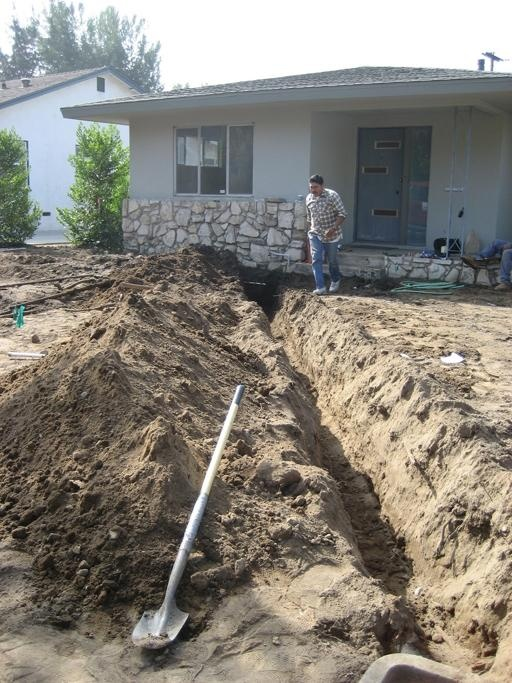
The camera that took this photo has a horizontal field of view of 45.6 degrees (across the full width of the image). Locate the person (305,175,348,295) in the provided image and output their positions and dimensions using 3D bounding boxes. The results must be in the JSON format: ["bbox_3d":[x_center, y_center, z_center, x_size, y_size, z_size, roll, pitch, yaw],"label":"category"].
[{"bbox_3d":[1.097,-1.683,9.916,0.609,1.863,1.054,3,7,5],"label":"person"}]

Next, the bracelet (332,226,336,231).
[{"bbox_3d":[1.235,-1.783,9.650,0.061,0.057,0.061,11,19,32],"label":"bracelet"}]
